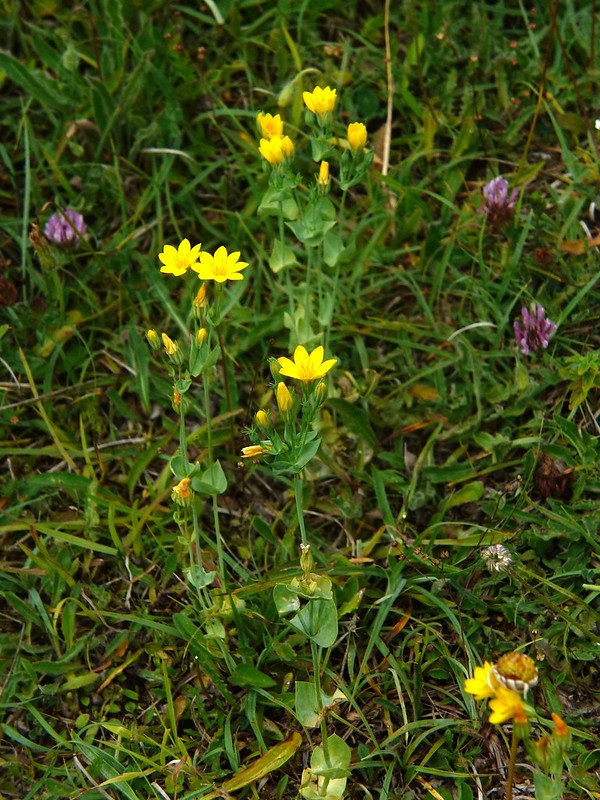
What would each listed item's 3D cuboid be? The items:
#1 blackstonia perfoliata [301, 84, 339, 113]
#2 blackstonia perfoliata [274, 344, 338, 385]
[{"bbox_3d":[0.068,-0.840,1.954,0.106,0.087,0.090,-12,43,-11],"label":"blackstonia perfoliata"},{"bbox_3d":[0.004,-0.079,1.606,0.105,0.051,0.112,-40,72,-22],"label":"blackstonia perfoliata"}]
